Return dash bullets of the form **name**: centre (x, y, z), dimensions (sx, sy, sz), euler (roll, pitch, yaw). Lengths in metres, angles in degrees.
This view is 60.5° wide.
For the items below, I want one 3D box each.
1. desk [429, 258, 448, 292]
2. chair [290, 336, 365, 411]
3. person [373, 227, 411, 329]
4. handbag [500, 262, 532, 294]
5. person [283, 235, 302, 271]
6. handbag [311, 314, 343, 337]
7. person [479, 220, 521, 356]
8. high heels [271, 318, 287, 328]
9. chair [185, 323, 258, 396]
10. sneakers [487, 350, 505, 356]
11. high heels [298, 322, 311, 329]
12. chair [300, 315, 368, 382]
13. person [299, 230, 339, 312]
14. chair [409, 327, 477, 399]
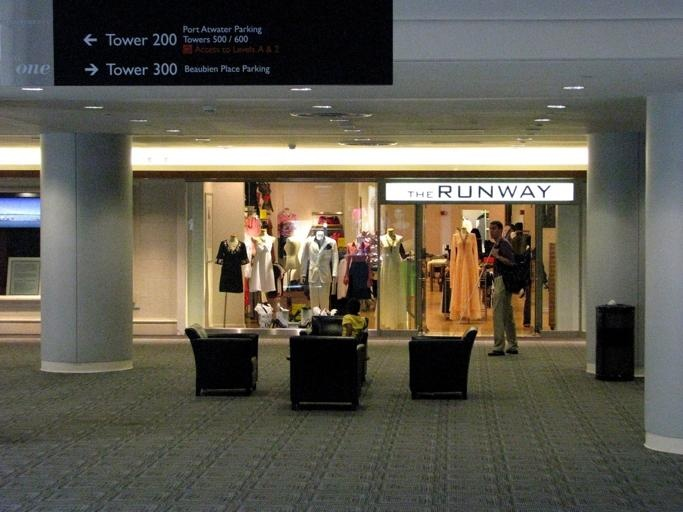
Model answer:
- **desk**: centre (2.220, 0.421, 13.593), dimensions (0.386, 0.514, 0.595), euler (-5, -1, 14)
- **chair**: centre (-0.112, 1.570, 8.286), dimensions (0.991, 1.052, 1.321), euler (0, 3, 16)
- **person**: centre (1.227, 0.557, 13.867), dimensions (0.682, 2.350, 0.200), euler (1, 1, 8)
- **handbag**: centre (3.444, 0.456, 11.503), dimensions (0.655, 0.722, 0.491), euler (2, -2, 2)
- **person**: centre (-1.181, -0.066, 14.583), dimensions (0.593, 1.150, 0.869), euler (0, 3, -5)
- **handbag**: centre (-0.285, 1.230, 10.216), dimensions (0.520, 0.384, 0.291), euler (1, 1, 3)
- **person**: centre (3.173, 0.667, 11.442), dimensions (0.558, 2.649, 0.876), euler (1, 1, 15)
- **high heels**: centre (-1.542, 1.636, 14.130), dimensions (0.148, 0.217, 0.491), euler (-2, -2, 38)
- **chair**: centre (-1.761, 1.497, 8.844), dimensions (0.969, 0.987, 0.955), euler (1, 8, 1)
- **sneakers**: centre (3.079, 1.950, 11.636), dimensions (0.327, 0.144, 0.124), euler (4, 1, -4)
- **high heels**: centre (-0.908, 1.695, 14.168), dimensions (0.185, 0.196, 0.241), euler (4, -28, -29)
- **chair**: centre (-0.127, 1.630, 10.122), dimensions (0.984, 0.965, 1.002), euler (7, 15, -6)
- **person**: centre (-0.536, 0.328, 14.060), dimensions (0.912, 1.977, 0.222), euler (0, 1, -5)
- **chair**: centre (1.515, 1.648, 8.556), dimensions (1.187, 0.947, 1.199), euler (6, -19, -10)
